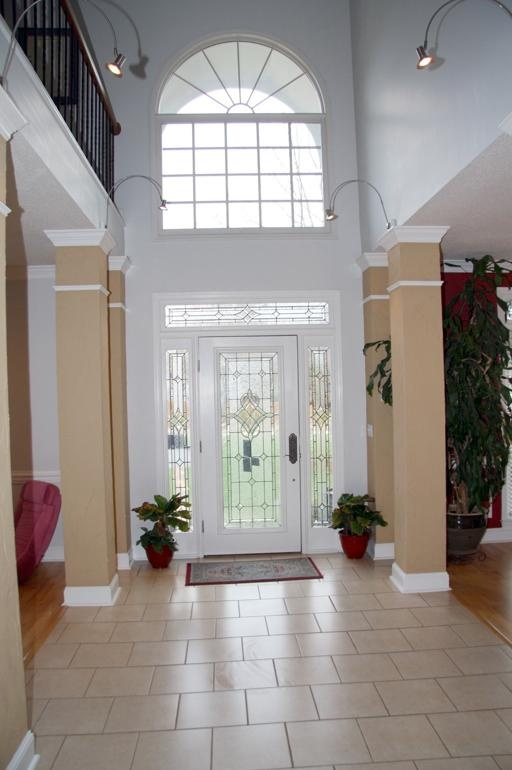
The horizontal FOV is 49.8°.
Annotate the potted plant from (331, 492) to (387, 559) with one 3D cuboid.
[{"bbox_3d":[0.830,1.211,4.782,0.474,0.528,0.495,0,2,18],"label":"potted plant"}]

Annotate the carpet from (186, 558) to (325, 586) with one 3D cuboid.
[{"bbox_3d":[-0.031,1.519,4.538,1.087,0.012,0.664,-2,-1,-2],"label":"carpet"}]

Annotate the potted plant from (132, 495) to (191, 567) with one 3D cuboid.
[{"bbox_3d":[-0.805,1.233,4.688,0.392,0.612,0.576,-5,-15,22],"label":"potted plant"}]
